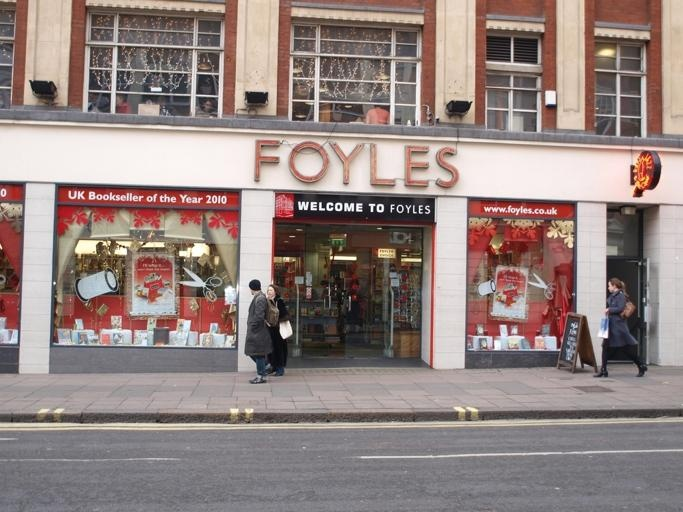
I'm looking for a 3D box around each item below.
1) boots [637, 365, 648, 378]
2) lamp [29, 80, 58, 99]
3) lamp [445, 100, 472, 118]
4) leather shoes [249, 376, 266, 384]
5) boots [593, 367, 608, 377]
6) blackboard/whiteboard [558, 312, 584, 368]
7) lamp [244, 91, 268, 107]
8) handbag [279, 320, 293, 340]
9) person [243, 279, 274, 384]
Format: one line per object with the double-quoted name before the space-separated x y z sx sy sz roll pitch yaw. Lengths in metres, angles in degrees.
"boots" 7.229 2.759 26.619 0.138 0.199 0.413 -43 -11 24
"lamp" -7.131 -4.009 26.567 0.424 0.128 0.456 -1 -32 -2
"lamp" 2.877 -3.684 27.611 0.394 0.234 0.478 1 -6 -9
"leather shoes" -1.932 2.867 25.373 0.403 0.205 0.153 3 -3 -2
"boots" 6.143 2.831 26.526 0.391 0.301 0.158 -2 -4 22
"blackboard/whiteboard" 5.588 2.108 27.180 0.405 1.382 0.998 1 -1 -9
"lamp" -2.102 -3.863 27.138 0.537 0.350 0.344 1 0 -4
"handbag" -1.332 1.739 25.932 0.142 0.444 0.328 -6 -12 21
"person" -1.931 1.748 25.575 0.574 2.363 0.962 1 -1 -3
